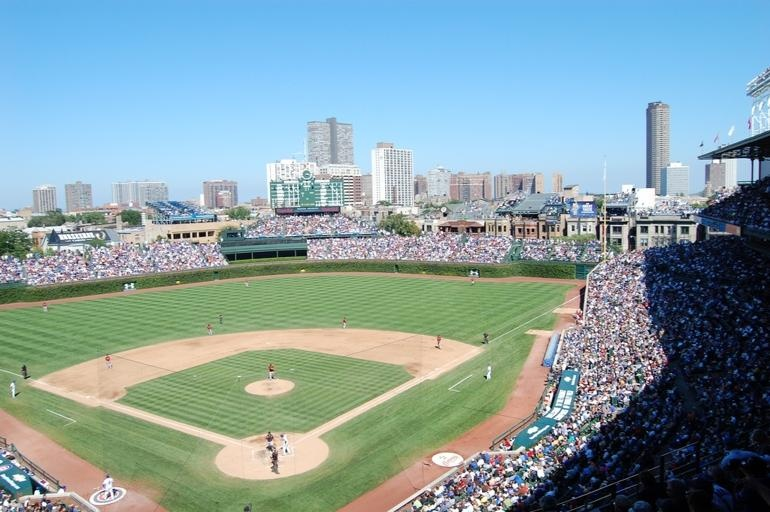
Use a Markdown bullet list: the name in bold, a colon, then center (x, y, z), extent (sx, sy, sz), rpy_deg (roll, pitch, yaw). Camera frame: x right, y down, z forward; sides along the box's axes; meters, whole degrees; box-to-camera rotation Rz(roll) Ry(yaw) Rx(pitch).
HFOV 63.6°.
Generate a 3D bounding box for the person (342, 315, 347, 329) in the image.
- **person**: center (-4.650, 7.765, 72.562), extent (0.656, 1.261, 0.571), rpy_deg (0, 33, 10)
